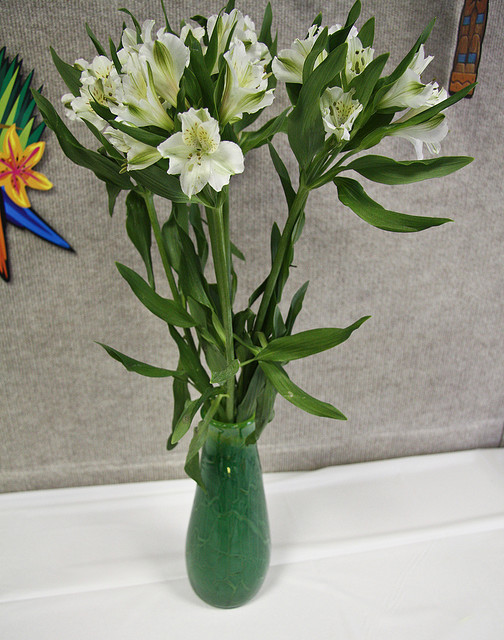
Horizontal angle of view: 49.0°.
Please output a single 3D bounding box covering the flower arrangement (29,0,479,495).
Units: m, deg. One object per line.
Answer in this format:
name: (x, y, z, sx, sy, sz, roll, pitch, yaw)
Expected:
flower arrangement: (-0.055, -0.050, 0.692, 0.364, 0.621, 0.511, -4, 28, -18)
